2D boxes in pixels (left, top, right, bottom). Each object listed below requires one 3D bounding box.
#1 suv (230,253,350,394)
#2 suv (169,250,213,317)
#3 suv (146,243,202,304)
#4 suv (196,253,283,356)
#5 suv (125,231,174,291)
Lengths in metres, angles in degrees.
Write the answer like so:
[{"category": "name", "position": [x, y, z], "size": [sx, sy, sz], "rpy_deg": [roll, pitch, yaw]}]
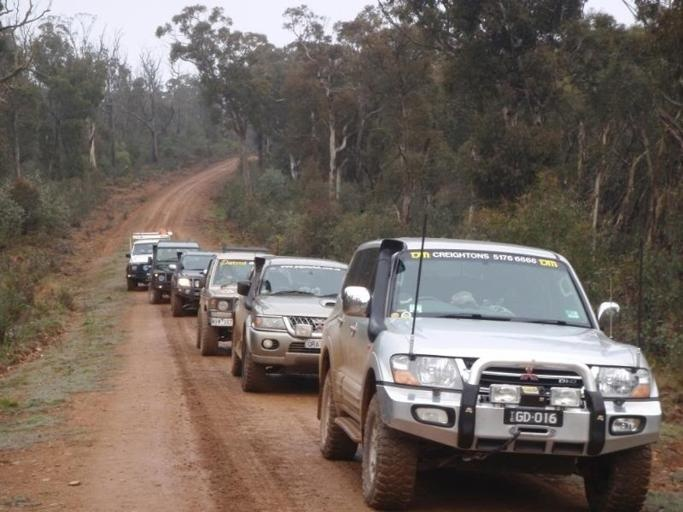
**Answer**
[{"category": "suv", "position": [-1.082, 1.076, 14.106], "size": [1.586, 1.547, 2.700], "rpy_deg": [6, -6, -14]}, {"category": "suv", "position": [-4.690, 0.767, 24.304], "size": [1.701, 1.824, 3.186], "rpy_deg": [1, 5, -14]}, {"category": "suv", "position": [-6.326, 0.289, 28.543], "size": [1.688, 1.880, 3.245], "rpy_deg": [5, 18, -12]}, {"category": "suv", "position": [-2.558, 0.959, 17.366], "size": [1.262, 1.669, 2.652], "rpy_deg": [1, 0, -11]}, {"category": "suv", "position": [-8.479, 0.209, 32.676], "size": [1.832, 2.082, 3.247], "rpy_deg": [0, 0, -9]}]
